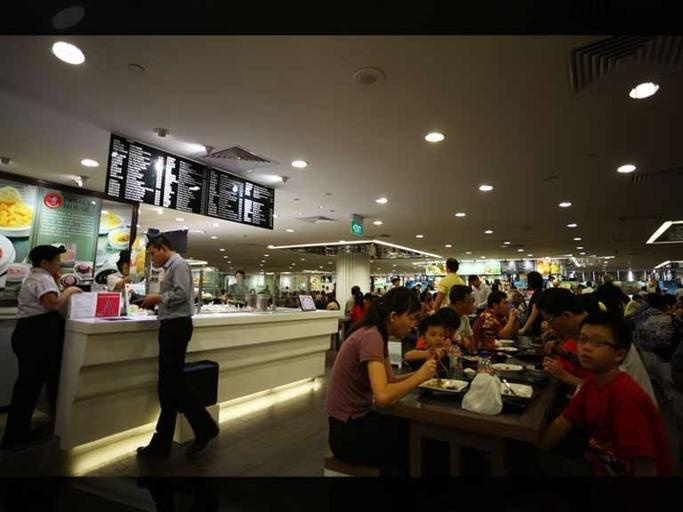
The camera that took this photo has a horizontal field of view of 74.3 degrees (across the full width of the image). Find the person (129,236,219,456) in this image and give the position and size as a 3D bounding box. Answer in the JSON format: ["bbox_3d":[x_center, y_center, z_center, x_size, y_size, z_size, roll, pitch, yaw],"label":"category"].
[{"bbox_3d":[-1.445,0.756,3.919,0.627,1.834,0.729,-2,6,-18],"label":"person"}]

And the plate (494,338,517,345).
[{"bbox_3d":[1.654,0.861,4.546,0.188,0.043,0.186,0,-9,0],"label":"plate"}]

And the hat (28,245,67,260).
[{"bbox_3d":[-2.923,-0.038,4.423,0.218,0.077,0.156,-13,0,-26],"label":"hat"}]

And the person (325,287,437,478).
[{"bbox_3d":[0.294,0.909,2.824,0.750,1.353,0.625,0,-10,-3],"label":"person"}]

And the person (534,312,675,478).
[{"bbox_3d":[1.391,0.727,2.303,0.522,0.838,0.410,4,7,37],"label":"person"}]

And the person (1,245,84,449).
[{"bbox_3d":[-2.521,0.677,3.742,0.560,1.474,0.768,-2,6,-13],"label":"person"}]

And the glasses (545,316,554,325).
[{"bbox_3d":[1.689,0.523,3.632,0.087,0.027,0.087,-22,-35,34],"label":"glasses"}]
